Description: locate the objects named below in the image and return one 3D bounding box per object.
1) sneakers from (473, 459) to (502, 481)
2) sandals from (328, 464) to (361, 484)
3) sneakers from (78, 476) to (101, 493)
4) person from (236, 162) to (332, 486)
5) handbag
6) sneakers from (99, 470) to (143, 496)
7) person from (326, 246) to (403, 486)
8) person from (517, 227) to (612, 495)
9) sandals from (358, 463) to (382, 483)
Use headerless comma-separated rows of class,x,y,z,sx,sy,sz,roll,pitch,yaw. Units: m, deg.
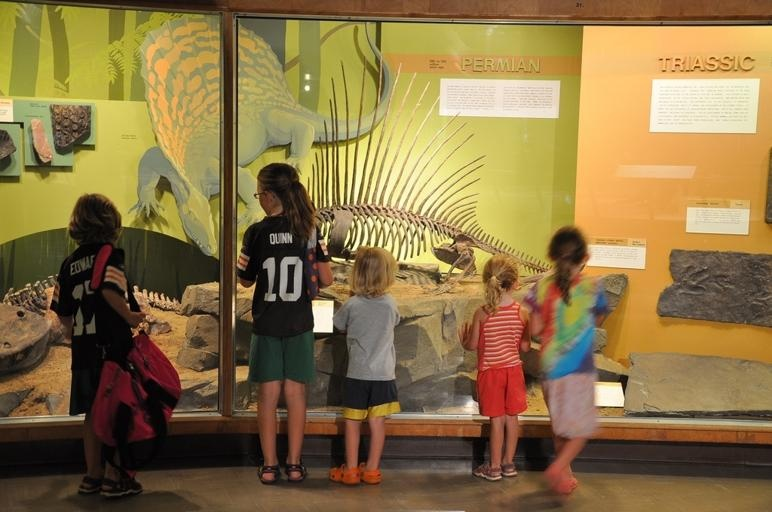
sneakers,0.813,1.737,5.599,0.225,0.108,0.099,0,-2,37
sandals,-0.320,1.724,5.500,0.246,0.109,0.115,2,1,38
sneakers,-2.219,1.749,5.254,0.095,0.092,0.205,1,5,3
person,-0.784,0.534,5.469,0.714,2.456,0.429,0,8,-12
handbag,-1.837,0.775,5.137,0.618,1.663,0.351,-1,8,-17
sneakers,-1.964,1.709,5.257,0.342,0.183,0.156,0,2,-21
person,-0.155,0.869,5.443,0.513,1.827,0.308,1,8,-3
person,1.355,0.735,5.173,0.502,1.825,0.460,-1,8,-18
sandals,-0.120,1.728,5.490,0.087,0.108,0.237,0,2,-22
